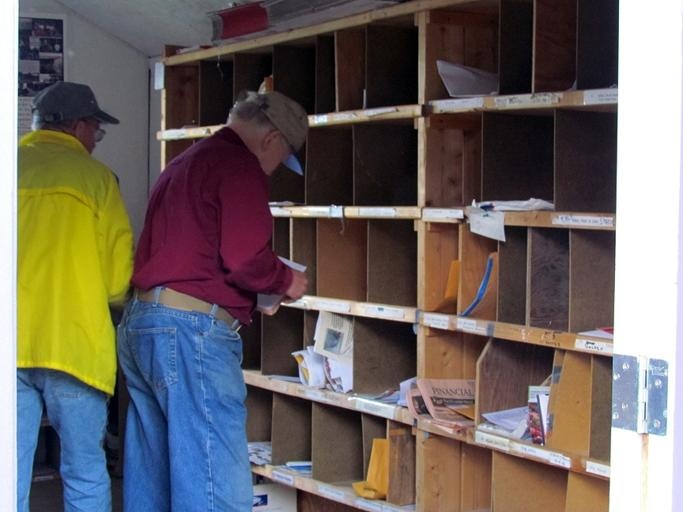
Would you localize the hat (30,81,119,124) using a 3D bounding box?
[{"bbox_3d":[-1.140,-0.630,3.104,0.252,0.162,0.179,-5,9,-32],"label":"hat"}]

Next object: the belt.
[{"bbox_3d":[-0.584,0.178,2.828,0.211,0.090,0.200,27,-3,1],"label":"belt"}]

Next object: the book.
[{"bbox_3d":[-0.260,0.116,3.071,0.208,0.218,0.059,23,-2,12],"label":"book"}]
